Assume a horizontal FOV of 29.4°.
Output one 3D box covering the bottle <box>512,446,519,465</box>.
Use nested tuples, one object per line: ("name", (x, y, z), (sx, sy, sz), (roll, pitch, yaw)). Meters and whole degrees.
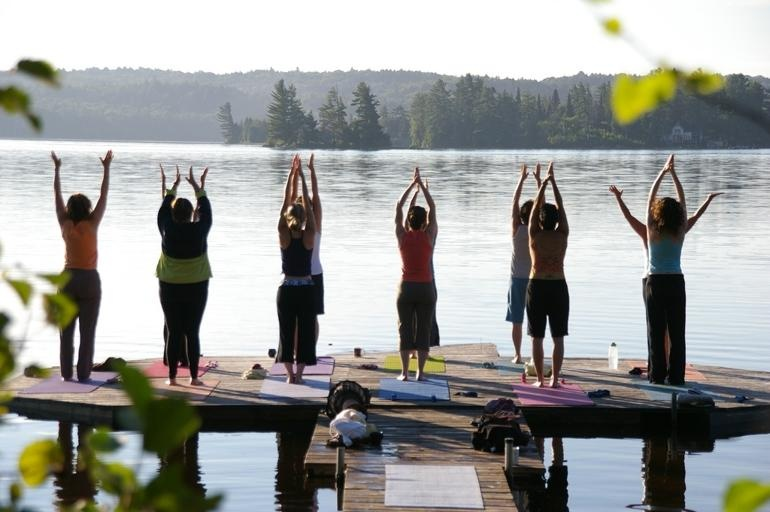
("bottle", (2.668, 4.027, 29.963), (0.088, 0.371, 0.322), (1, 5, 19))
